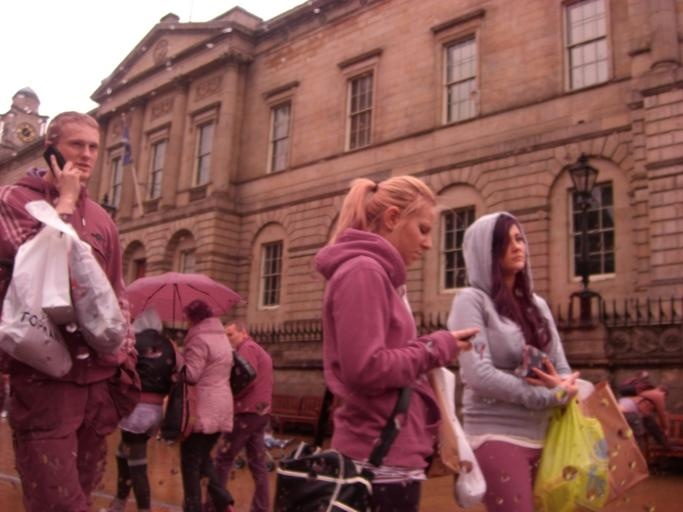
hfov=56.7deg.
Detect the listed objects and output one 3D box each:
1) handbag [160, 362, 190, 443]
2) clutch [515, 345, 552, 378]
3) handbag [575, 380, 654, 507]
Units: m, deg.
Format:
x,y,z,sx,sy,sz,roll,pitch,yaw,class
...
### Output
x,y,z,sx,sy,sz,roll,pitch,yaw,class
-1.477,1.311,5.612,0.289,0.659,0.207,10,-16,-39,handbag
1.106,0.618,3.649,0.183,0.183,0.059,31,-19,-32,clutch
1.620,1.088,3.753,0.264,0.662,0.213,2,-13,-6,handbag
